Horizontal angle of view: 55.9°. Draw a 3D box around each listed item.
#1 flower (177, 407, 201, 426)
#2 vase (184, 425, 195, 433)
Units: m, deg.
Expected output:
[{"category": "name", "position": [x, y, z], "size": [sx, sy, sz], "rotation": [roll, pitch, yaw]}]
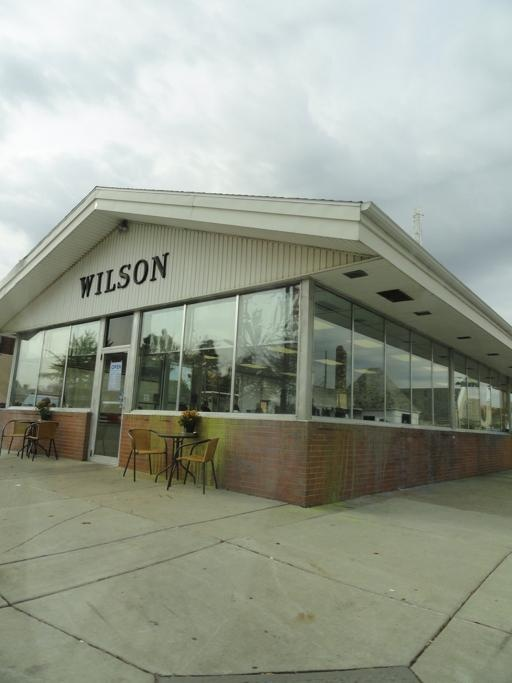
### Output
[{"category": "flower", "position": [-1.132, 1.259, 8.042], "size": [0.303, 0.237, 0.286], "rotation": [10, -20, -33]}, {"category": "vase", "position": [-1.114, 1.456, 7.931], "size": [0.146, 0.135, 0.121], "rotation": [1, -13, -7]}]
